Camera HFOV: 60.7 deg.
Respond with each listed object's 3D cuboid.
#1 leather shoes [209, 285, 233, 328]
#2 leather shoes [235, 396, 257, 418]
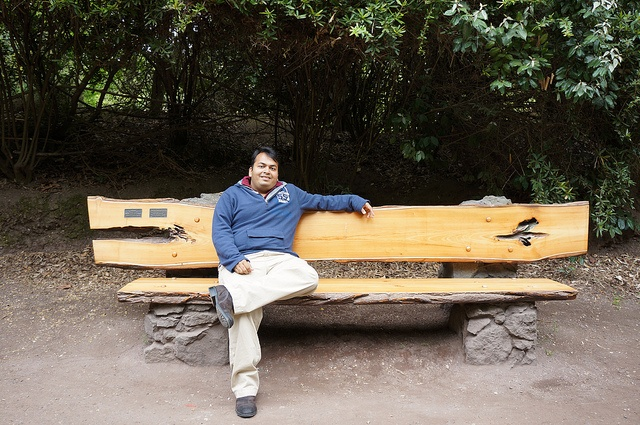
[{"bbox_3d":[-0.793,0.779,4.508,0.135,0.327,0.211,-11,17,-37],"label":"leather shoes"},{"bbox_3d":[-0.588,1.567,4.414,0.166,0.132,0.119,-2,13,-5],"label":"leather shoes"}]
